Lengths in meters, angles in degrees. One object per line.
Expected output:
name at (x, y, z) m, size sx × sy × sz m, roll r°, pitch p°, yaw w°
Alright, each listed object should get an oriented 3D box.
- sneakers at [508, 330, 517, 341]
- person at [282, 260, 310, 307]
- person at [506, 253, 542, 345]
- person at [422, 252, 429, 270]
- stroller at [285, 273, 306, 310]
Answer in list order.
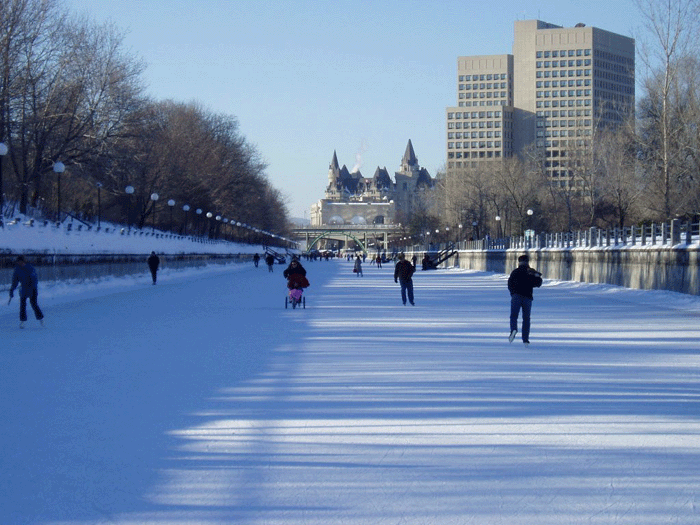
sneakers at (3.330, 1.527, 23.018) m, size 0.109 × 0.327 × 0.134 m, roll 9°, pitch 32°, yaw -5°
person at (-1.650, 0.535, 32.683) m, size 0.771 × 1.397 × 2.172 m, roll -2°, pitch 15°, yaw -4°
person at (3.483, 0.751, 22.454) m, size 0.630 × 1.843 × 1.410 m, roll 0°, pitch 3°, yaw 8°
person at (6.745, -0.027, 99.914) m, size 0.547 × 1.247 × 1.691 m, roll 0°, pitch 3°, yaw 4°
stroller at (-1.572, 0.864, 32.886) m, size 0.454 × 0.813 × 1.384 m, roll -1°, pitch -9°, yaw -2°
